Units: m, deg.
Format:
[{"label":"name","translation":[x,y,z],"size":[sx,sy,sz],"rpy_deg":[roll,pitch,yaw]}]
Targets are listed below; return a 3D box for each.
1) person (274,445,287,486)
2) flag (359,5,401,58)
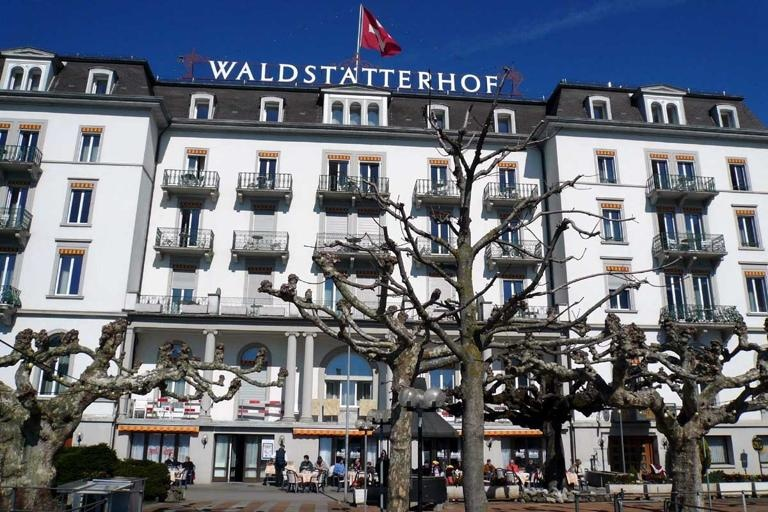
[{"label":"person","translation":[-5.954,11.981,38.391],"size":[0.685,2.064,1.144],"rpy_deg":[3,-13,-9]},{"label":"flag","translation":[-0.689,-16.002,48.560],"size":[1.695,4.255,3.299],"rpy_deg":[9,-15,-33]}]
